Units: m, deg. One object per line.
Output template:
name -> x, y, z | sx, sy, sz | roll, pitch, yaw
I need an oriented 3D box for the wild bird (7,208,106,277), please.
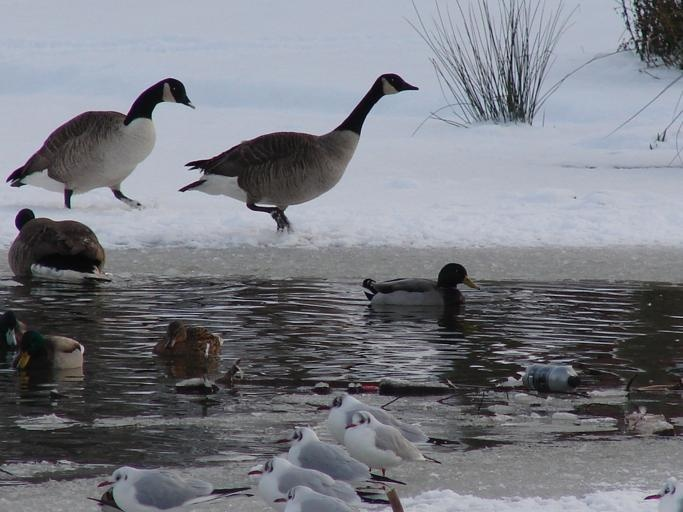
wild bird -> -3.910, -0.090, 15.736 | 1.473, 0.787, 0.546 | 4, 14, 16

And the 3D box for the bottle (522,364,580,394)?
bottle -> 1.926, 1.135, 10.451 | 0.507, 0.245, 0.197 | 5, 14, 20

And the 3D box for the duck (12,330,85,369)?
duck -> -2.872, 0.926, 11.015 | 0.683, 0.365, 0.289 | -1, 13, -5
